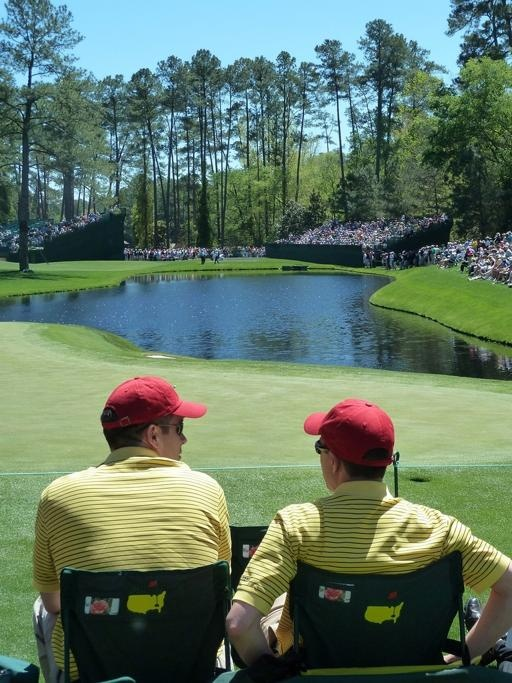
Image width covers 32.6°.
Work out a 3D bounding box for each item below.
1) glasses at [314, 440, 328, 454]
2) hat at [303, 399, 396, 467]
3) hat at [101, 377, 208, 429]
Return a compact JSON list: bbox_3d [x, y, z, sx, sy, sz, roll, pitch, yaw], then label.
[{"bbox_3d":[0.224,0.362,2.970,0.051,0.025,0.040,40,-7,-12],"label":"glasses"},{"bbox_3d":[0.303,0.283,2.957,0.209,0.141,0.291,-7,24,-27],"label":"hat"},{"bbox_3d":[-0.382,0.227,3.300,0.322,0.146,0.192,1,4,-21],"label":"hat"}]
